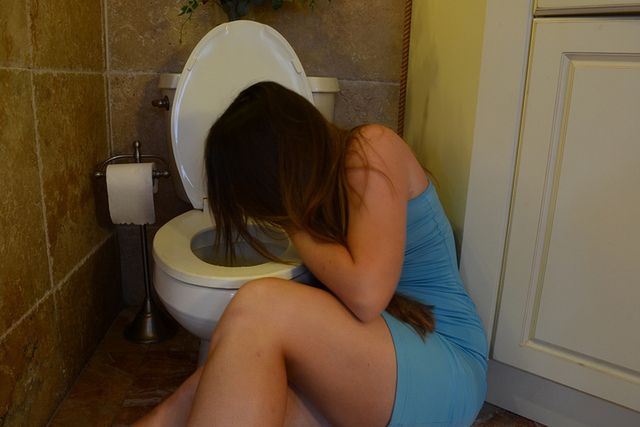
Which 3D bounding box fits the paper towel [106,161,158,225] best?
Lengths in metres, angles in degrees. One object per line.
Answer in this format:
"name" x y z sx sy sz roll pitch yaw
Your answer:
"paper towel" -0.646 -0.073 1.722 0.150 0.238 0.124 1 30 -1
